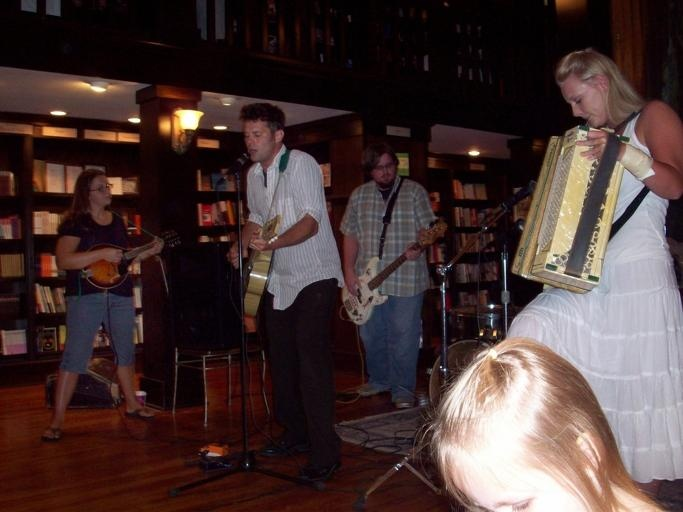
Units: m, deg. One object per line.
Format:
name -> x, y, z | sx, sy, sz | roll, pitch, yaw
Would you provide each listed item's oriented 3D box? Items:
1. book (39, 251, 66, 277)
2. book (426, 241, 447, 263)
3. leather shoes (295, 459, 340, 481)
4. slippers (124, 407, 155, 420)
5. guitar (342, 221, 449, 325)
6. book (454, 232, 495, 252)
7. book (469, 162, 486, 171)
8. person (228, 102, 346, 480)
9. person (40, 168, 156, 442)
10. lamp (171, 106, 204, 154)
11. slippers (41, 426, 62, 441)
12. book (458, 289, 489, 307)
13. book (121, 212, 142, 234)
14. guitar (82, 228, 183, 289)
book -> -2.869, 0.077, 5.927 | 0.173, 0.246, 0.249 | -2, -8, 13
book -> 1.221, -0.050, 7.826 | 0.211, 0.300, 0.302 | -4, -3, 27
leather shoes -> -0.128, 1.132, 3.260 | 0.207, 0.094, 0.093 | 5, -12, -41
slippers -> -1.612, 1.232, 4.779 | 0.177, 0.069, 0.097 | 1, -5, 9
guitar -> 0.369, 0.152, 4.841 | 0.948, 0.844, 0.225 | -1, 2, 37
book -> 1.523, -0.167, 7.093 | 0.404, 0.398, 0.149 | 1, 3, -9
book -> 2.190, -1.435, 9.718 | 0.291, 0.157, 0.068 | 3, 0, -25
person -> -0.314, 0.178, 3.377 | 0.527, 2.074, 0.638 | -3, 2, -39
person -> -1.829, 0.314, 4.490 | 0.836, 1.607, 0.411 | -3, 2, -35
lamp -> -1.336, -1.079, 5.170 | 0.216, 0.280, 0.172 | -3, 2, -44
slippers -> -2.061, 1.239, 4.265 | 0.127, 0.089, 0.134 | -3, 1, -28
book -> 1.758, 0.553, 8.097 | 0.352, 0.358, 0.258 | 1, -10, 5
book -> -2.242, -0.350, 6.387 | 0.200, 0.384, 0.384 | 0, -3, -24
guitar -> -1.655, 0.008, 4.666 | 0.102, 0.308, 0.757 | -4, 23, 39
